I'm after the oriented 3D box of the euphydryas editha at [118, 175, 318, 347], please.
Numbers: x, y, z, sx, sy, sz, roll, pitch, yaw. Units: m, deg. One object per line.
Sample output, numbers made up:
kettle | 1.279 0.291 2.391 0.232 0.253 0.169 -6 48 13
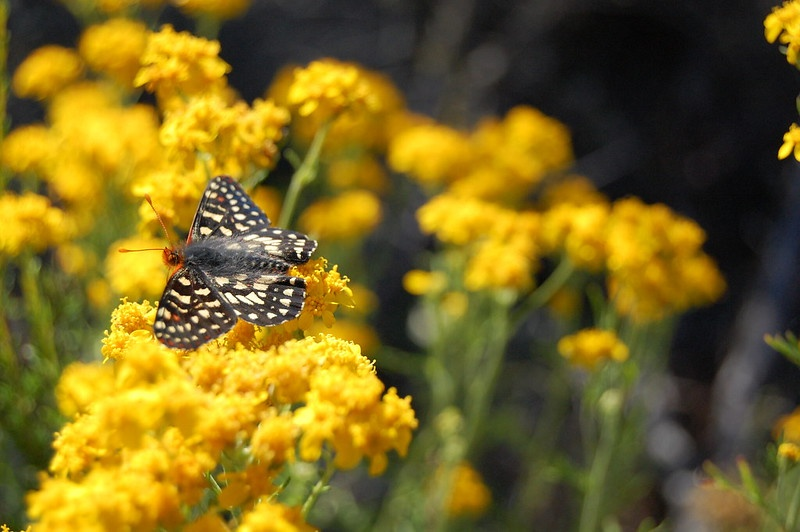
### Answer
euphydryas editha | -0.419 0.006 2.074 0.433 0.474 0.126 21 47 -35
